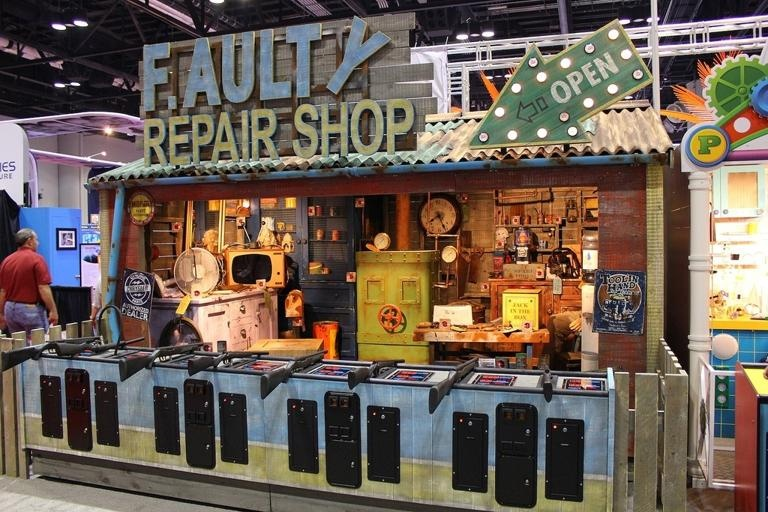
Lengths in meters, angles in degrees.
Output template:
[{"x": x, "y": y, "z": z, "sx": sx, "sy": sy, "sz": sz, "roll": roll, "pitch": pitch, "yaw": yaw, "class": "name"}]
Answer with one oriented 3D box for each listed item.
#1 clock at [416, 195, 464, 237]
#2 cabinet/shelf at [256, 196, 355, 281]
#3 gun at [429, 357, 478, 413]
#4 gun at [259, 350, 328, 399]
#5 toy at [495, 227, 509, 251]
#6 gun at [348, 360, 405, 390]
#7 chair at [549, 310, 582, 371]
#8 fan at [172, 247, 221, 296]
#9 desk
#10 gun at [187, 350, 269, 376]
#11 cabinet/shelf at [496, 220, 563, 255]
[{"x": 1.086, "y": -0.778, "z": 13.685, "sx": 0.737, "sy": 0.787, "sz": 0.179, "roll": 3, "pitch": 2, "yaw": 20, "class": "clock"}, {"x": -1.390, "y": -0.291, "z": 13.068, "sx": 1.444, "sy": 1.487, "sz": 0.580, "roll": 0, "pitch": -2, "yaw": 15, "class": "cabinet/shelf"}, {"x": 0.744, "y": 1.461, "z": 8.007, "sx": 0.231, "sy": 0.571, "sz": 0.834, "roll": 0, "pitch": -1, "yaw": 38, "class": "gun"}, {"x": -0.895, "y": 1.333, "z": 8.414, "sx": 0.246, "sy": 0.433, "sz": 1.259, "roll": 5, "pitch": 10, "yaw": 36, "class": "gun"}, {"x": 2.305, "y": -0.380, "z": 13.982, "sx": 0.348, "sy": 0.670, "sz": 0.349, "roll": 2, "pitch": 0, "yaw": 9, "class": "toy"}, {"x": -0.130, "y": 1.350, "z": 8.175, "sx": 0.235, "sy": 0.309, "sz": 0.776, "roll": 0, "pitch": -1, "yaw": 45, "class": "gun"}, {"x": 3.136, "y": 1.449, "z": 12.289, "sx": 0.494, "sy": 0.949, "sz": 0.515, "roll": 1, "pitch": -1, "yaw": 12, "class": "chair"}, {"x": -3.051, "y": 0.216, "z": 11.506, "sx": 0.672, "sy": 0.748, "sz": 0.220, "roll": 2, "pitch": 4, "yaw": 2, "class": "fan"}, {"x": 1.597, "y": 1.650, "z": 11.943, "sx": 1.483, "sy": 0.511, "sz": 0.646, "roll": 6, "pitch": 5, "yaw": -12, "class": "desk"}, {"x": -1.970, "y": 1.281, "z": 8.594, "sx": 0.836, "sy": 0.271, "sz": 0.386, "roll": 2, "pitch": -1, "yaw": -20, "class": "gun"}, {"x": 2.986, "y": -0.471, "z": 14.564, "sx": 0.349, "sy": 0.674, "sz": 1.422, "roll": 18, "pitch": -6, "yaw": -33, "class": "cabinet/shelf"}]
